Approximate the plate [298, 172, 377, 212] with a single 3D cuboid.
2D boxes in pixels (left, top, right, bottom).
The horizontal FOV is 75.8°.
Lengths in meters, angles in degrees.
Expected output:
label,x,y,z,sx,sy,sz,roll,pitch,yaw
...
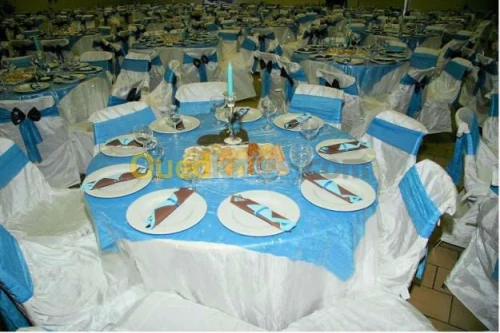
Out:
label,x,y,z,sx,sy,sz,roll,pitch,yaw
plate,0.528,0.177,2.000,0.303,0.045,0.296,25,38,35
